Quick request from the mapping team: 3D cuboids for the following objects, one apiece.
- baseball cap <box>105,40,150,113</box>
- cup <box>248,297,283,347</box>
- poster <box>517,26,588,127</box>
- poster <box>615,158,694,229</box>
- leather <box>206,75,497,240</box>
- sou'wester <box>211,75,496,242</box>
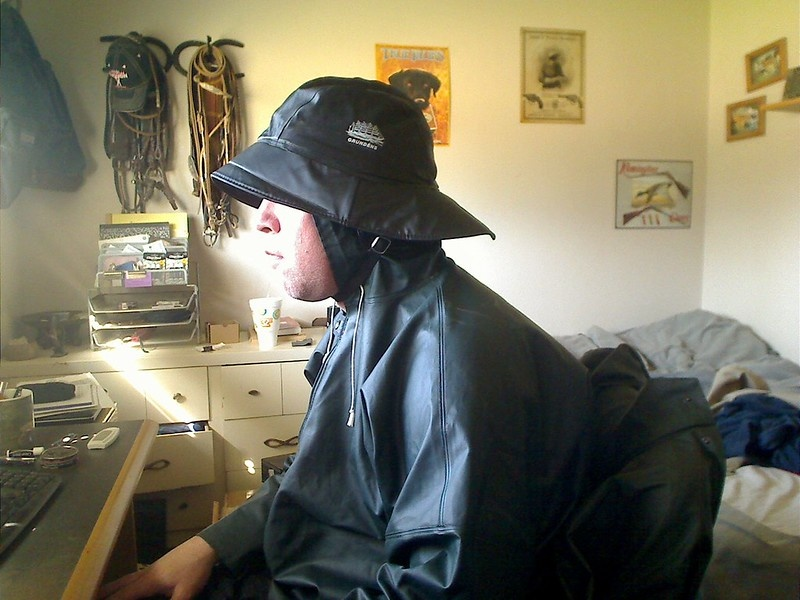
[{"bbox_3d":[-1.235,-1.027,3.002,0.198,0.325,0.183,1,6,-5],"label":"baseball cap"},{"bbox_3d":[-0.619,0.107,2.993,0.158,0.224,0.161,-3,2,0],"label":"cup"},{"bbox_3d":[0.815,-1.248,3.537,0.566,0.668,0.050,-1,2,-13],"label":"poster"},{"bbox_3d":[1.436,-0.626,3.709,0.428,0.384,0.045,0,-1,-5],"label":"poster"},{"bbox_3d":[-0.107,-0.232,1.333,0.434,0.219,0.398,7,8,-11],"label":"leather"},{"bbox_3d":[-0.105,-0.236,1.334,0.434,0.219,0.398,7,8,-11],"label":"sou'wester"}]
